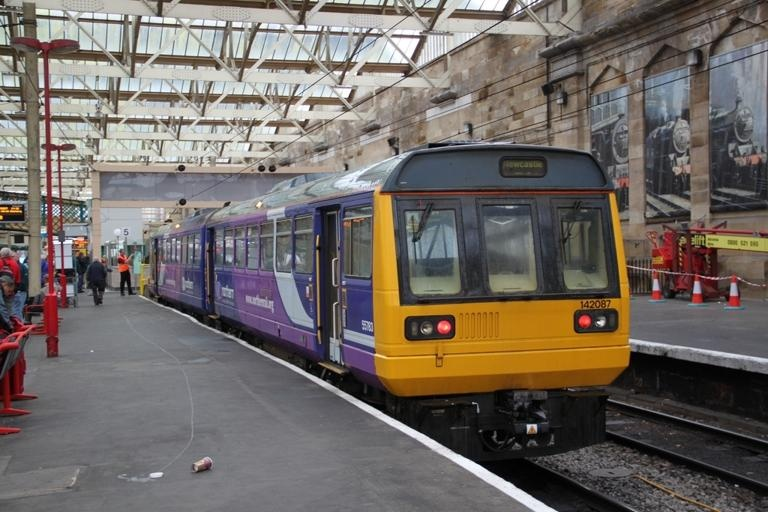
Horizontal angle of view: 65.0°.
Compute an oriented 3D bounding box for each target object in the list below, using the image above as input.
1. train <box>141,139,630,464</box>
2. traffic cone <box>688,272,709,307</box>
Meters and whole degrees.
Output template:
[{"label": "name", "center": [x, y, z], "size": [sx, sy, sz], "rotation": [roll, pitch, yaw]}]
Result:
[{"label": "train", "center": [-1.552, 0.175, 15.105], "size": [3.277, 4.185, 16.507], "rotation": [0, 2, -24]}, {"label": "traffic cone", "center": [9.713, 1.012, 18.701], "size": [0.307, 0.876, 1.325], "rotation": [-1, 4, 27]}]
